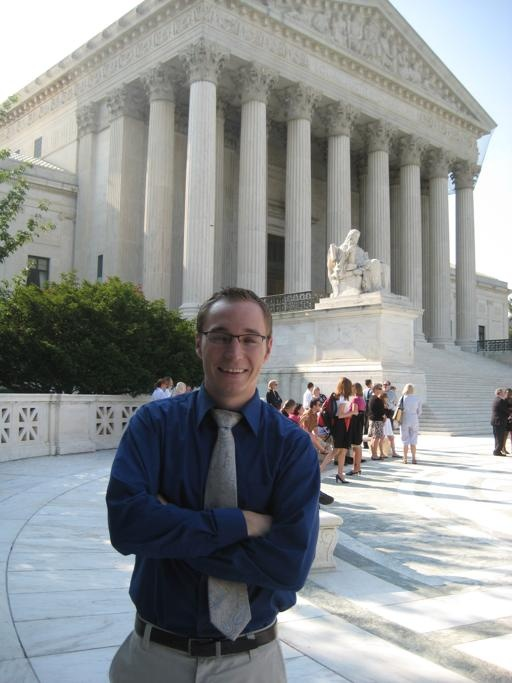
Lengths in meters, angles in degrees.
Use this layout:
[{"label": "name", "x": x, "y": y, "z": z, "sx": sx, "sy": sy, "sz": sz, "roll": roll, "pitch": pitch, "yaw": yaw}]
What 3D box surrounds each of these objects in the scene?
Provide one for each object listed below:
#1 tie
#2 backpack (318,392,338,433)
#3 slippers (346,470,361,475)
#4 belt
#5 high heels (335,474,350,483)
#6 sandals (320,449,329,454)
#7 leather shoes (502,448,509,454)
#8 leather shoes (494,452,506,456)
[{"label": "tie", "x": -0.073, "y": 0.533, "z": 1.855, "sx": 0.153, "sy": 0.652, "sz": 0.143, "roll": 4, "pitch": -5, "yaw": -10}, {"label": "backpack", "x": 1.447, "y": 1.419, "z": 12.504, "sx": 0.287, "sy": 0.779, "sz": 0.584, "roll": 4, "pitch": -5, "yaw": -10}, {"label": "slippers", "x": 1.990, "y": 2.660, "z": 12.780, "sx": 0.323, "sy": 0.117, "sz": 0.114, "roll": 3, "pitch": -9, "yaw": -26}, {"label": "belt", "x": -0.132, "y": 0.886, "z": 1.877, "sx": 0.394, "sy": 0.064, "sz": 0.132, "roll": 3, "pitch": -5, "yaw": -7}, {"label": "high heels", "x": 1.608, "y": 2.550, "z": 11.779, "sx": 0.226, "sy": 0.151, "sz": 0.401, "roll": 2, "pitch": -5, "yaw": 8}, {"label": "sandals", "x": 1.287, "y": 2.064, "z": 11.871, "sx": 0.112, "sy": 0.070, "sz": 0.153, "roll": 5, "pitch": -8, "yaw": 11}, {"label": "leather shoes", "x": 6.570, "y": 2.901, "z": 16.666, "sx": 0.144, "sy": 0.183, "sz": 0.553, "roll": 0, "pitch": -5, "yaw": 23}, {"label": "leather shoes", "x": 6.304, "y": 2.902, "z": 16.368, "sx": 0.180, "sy": 0.107, "sz": 0.479, "roll": -2, "pitch": -7, "yaw": 43}]
